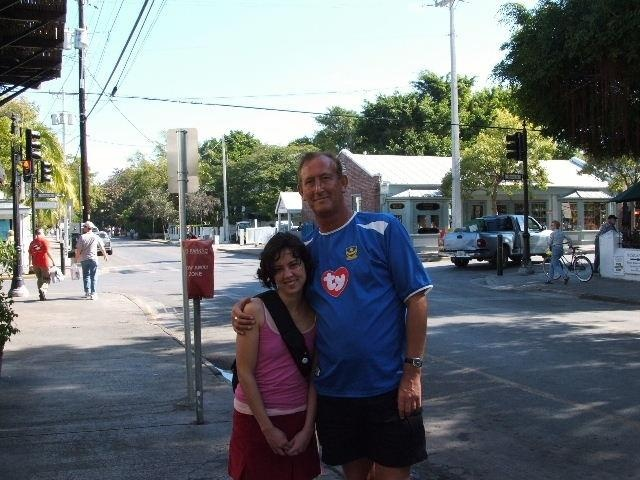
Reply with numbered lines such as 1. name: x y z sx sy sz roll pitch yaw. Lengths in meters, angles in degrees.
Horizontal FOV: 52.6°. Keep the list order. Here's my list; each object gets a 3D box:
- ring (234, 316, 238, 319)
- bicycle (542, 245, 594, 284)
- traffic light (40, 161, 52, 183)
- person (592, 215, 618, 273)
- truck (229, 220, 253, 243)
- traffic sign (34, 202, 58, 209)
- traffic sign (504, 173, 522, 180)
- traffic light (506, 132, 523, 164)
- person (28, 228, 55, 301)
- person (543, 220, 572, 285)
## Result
1. ring: -0.582 0.538 4.497 0.018 0.020 0.005 0 -6 9
2. bicycle: 7.727 0.786 20.371 1.946 1.377 1.034 3 2 31
3. traffic light: -9.586 -2.428 22.686 0.317 0.781 0.852 -1 0 -28
4. person: 9.568 0.085 21.690 0.718 1.387 3.302 -1 0 24
5. truck: -7.063 -0.737 57.425 1.378 1.394 2.158 0 -4 -16
6. traffic sign: -11.579 -1.482 27.398 0.856 0.229 0.849 0 -2 -3
7. traffic sign: 6.363 -2.065 21.281 0.888 0.178 0.351 -1 0 -42
8. traffic light: 6.412 -3.075 21.304 0.548 0.732 1.107 -1 0 17
9. person: -7.267 0.743 16.924 0.556 1.945 1.150 -1 0 -24
10. person: 7.134 0.340 19.421 0.698 1.392 2.082 -1 0 20
